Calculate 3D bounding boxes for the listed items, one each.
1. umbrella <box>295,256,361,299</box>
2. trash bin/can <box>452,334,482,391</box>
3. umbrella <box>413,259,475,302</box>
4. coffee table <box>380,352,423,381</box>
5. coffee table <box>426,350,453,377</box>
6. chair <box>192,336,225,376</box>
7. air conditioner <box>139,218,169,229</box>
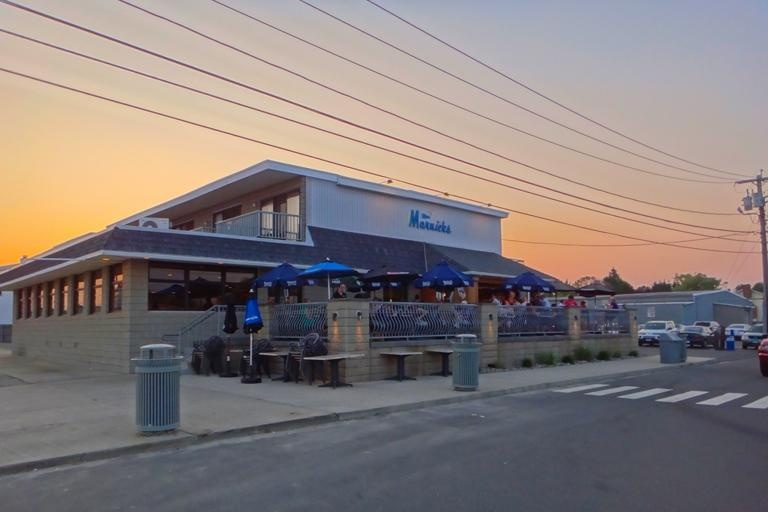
[{"bbox_3d":[-1.868,0.820,21.167,1.977,1.262,1.773,-3,2,-25],"label":"umbrella"},{"bbox_3d":[2.361,3.205,17.145,0.667,1.323,0.415,0,-1,19],"label":"trash bin/can"},{"bbox_3d":[2.353,0.901,23.500,1.880,0.875,1.574,-1,-6,-6],"label":"umbrella"},{"bbox_3d":[0.585,3.621,19.492,1.205,0.829,1.178,-7,-13,37],"label":"coffee table"},{"bbox_3d":[2.028,3.721,20.661,1.172,0.870,1.077,3,-8,-29],"label":"coffee table"},{"bbox_3d":[-6.434,3.659,21.806,1.222,1.369,0.560,0,-1,20],"label":"chair"},{"bbox_3d":[-9.879,-1.375,25.588,1.157,0.621,0.575,0,-1,-28],"label":"air conditioner"}]
